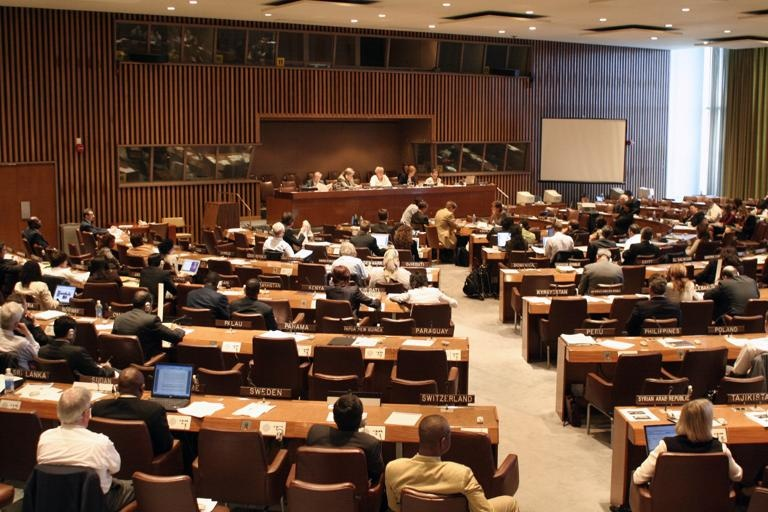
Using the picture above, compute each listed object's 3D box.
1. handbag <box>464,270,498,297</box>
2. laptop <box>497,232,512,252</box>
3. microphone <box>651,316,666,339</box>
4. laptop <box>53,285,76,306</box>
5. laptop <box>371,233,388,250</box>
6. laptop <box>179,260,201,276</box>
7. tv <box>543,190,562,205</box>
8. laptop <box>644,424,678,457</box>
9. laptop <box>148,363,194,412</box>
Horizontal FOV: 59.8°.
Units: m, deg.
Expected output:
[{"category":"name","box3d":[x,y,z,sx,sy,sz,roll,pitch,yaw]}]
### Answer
[{"category":"handbag","box3d":[2.196,0.625,15.011,0.534,0.687,0.722,1,2,-15]},{"category":"laptop","box3d":[2.657,-0.305,14.915,0.413,0.398,0.338,0,5,1]},{"category":"microphone","box3d":[3.891,1.001,9.420,0.215,0.282,0.240,4,11,18]},{"category":"laptop","box3d":[-4.998,0.603,10.466,0.374,0.290,0.232,4,3,1]},{"category":"laptop","box3d":[-0.077,-0.356,14.992,0.414,0.433,0.302,-1,17,2]},{"category":"laptop","box3d":[-3.298,0.197,11.577,0.417,0.285,0.287,7,-1,19]},{"category":"tv","box3d":[6.212,-2.106,24.374,0.681,0.596,0.653,-1,4,-20]},{"category":"laptop","box3d":[2.776,1.796,6.751,0.348,0.235,0.257,2,5,7]},{"category":"laptop","box3d":[-2.310,1.392,7.335,0.507,0.436,0.375,4,8,-2]}]
